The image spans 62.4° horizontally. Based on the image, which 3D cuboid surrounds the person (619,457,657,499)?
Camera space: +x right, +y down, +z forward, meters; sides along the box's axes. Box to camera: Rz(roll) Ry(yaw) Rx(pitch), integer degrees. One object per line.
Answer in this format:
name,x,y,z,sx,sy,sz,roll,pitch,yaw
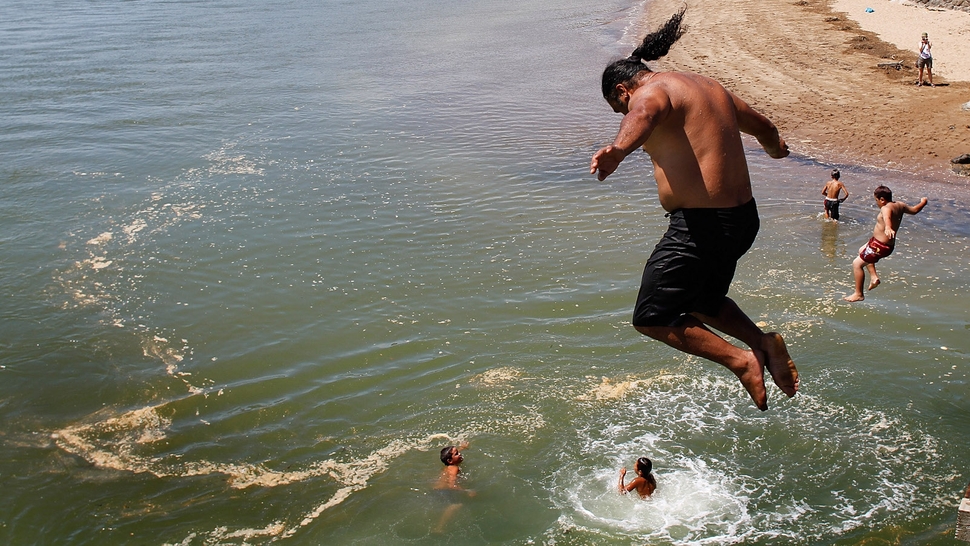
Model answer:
person,3.067,4.130,16.027,0.747,0.673,0.503,-22,41,-19
